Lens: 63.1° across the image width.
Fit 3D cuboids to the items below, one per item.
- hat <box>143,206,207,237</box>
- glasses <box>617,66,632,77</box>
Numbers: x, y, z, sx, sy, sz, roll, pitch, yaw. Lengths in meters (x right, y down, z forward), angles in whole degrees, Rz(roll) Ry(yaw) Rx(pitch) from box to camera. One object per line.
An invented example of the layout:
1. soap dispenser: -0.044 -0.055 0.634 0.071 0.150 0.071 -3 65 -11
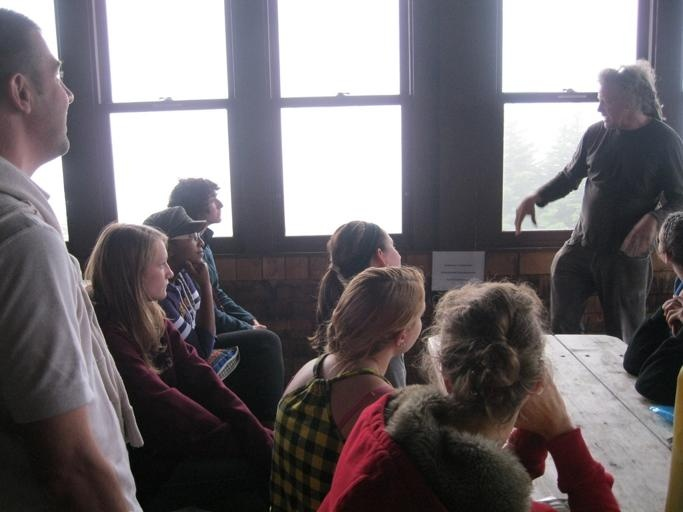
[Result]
1. hat: -0.840 -0.161 2.754 0.319 0.144 0.221 -6 0 -16
2. glasses: 1.435 -0.942 2.812 0.055 0.036 0.075 1 38 26
